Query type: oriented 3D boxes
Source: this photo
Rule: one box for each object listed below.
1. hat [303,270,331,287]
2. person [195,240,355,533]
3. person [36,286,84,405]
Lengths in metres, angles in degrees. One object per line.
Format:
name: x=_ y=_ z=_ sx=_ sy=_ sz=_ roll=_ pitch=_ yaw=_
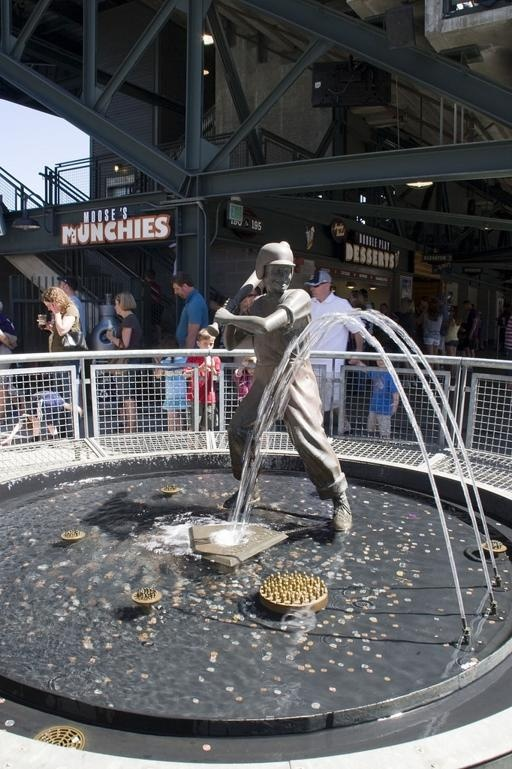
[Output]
hat: x=0.685 y=-1.142 z=7.132 sx=0.332 sy=0.196 sz=0.207 roll=-1 pitch=11 yaw=-2
person: x=0.124 y=0.009 z=4.364 sx=1.017 sy=1.899 sz=0.822 roll=-5 pitch=8 yaw=-35
person: x=-2.103 y=-0.493 z=7.053 sx=0.469 sy=1.130 sz=2.563 roll=-2 pitch=7 yaw=-15
